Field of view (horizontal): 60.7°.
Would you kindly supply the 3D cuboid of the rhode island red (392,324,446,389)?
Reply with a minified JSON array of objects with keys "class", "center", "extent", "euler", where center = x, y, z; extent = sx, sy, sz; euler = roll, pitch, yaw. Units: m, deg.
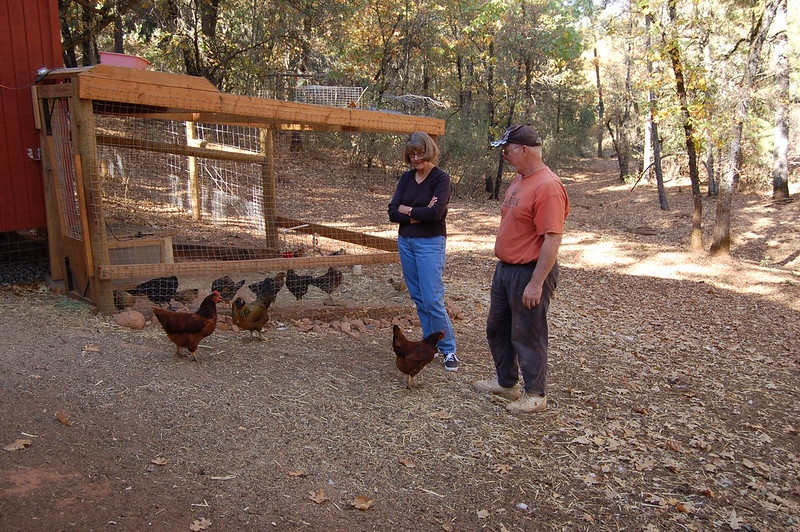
[{"class":"rhode island red","center":[0.217,1.215,9.274],"extent":[0.762,0.805,0.398],"euler":[7,-1,-11]}]

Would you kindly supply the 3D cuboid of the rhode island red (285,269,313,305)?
[{"class":"rhode island red","center":[-1.743,0.318,11.400],"extent":[0.442,0.566,0.406],"euler":[-10,15,-41]}]

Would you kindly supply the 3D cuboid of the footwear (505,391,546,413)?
[{"class":"footwear","center":[1.686,1.788,8.972],"extent":[0.587,0.223,0.208],"euler":[0,6,-7]}]

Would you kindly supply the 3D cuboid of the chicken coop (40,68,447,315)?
[{"class":"chicken coop","center":[-3.626,-1.437,13.283],"extent":[7.386,3.335,7.441],"euler":[4,6,30]}]

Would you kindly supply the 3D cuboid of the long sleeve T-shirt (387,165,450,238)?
[{"class":"long sleeve T-shirt","center":[0.272,-0.894,9.551],"extent":[0.838,0.978,0.505],"euler":[2,12,12]}]

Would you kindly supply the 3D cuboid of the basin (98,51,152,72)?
[{"class":"basin","center":[-4.161,-3.144,10.433],"extent":[0.721,0.280,0.710],"euler":[3,12,-1]}]

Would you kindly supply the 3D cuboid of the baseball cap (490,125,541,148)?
[{"class":"baseball cap","center":[1.508,-1.628,8.679],"extent":[0.494,0.237,0.309],"euler":[-3,9,10]}]

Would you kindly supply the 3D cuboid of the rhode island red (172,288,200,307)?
[{"class":"rhode island red","center":[-3.457,0.506,10.990],"extent":[0.380,0.274,0.213],"euler":[4,13,-28]}]

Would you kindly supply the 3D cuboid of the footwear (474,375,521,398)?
[{"class":"footwear","center":[1.321,1.666,9.321],"extent":[0.649,0.254,0.232],"euler":[13,7,18]}]

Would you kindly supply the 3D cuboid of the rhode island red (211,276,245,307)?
[{"class":"rhode island red","center":[-2.862,0.403,11.332],"extent":[0.498,0.355,0.473],"euler":[18,-3,-4]}]

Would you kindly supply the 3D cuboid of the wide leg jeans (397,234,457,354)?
[{"class":"wide leg jeans","center":[0.387,0.288,9.726],"extent":[0.740,1.802,0.544],"euler":[-2,1,35]}]
